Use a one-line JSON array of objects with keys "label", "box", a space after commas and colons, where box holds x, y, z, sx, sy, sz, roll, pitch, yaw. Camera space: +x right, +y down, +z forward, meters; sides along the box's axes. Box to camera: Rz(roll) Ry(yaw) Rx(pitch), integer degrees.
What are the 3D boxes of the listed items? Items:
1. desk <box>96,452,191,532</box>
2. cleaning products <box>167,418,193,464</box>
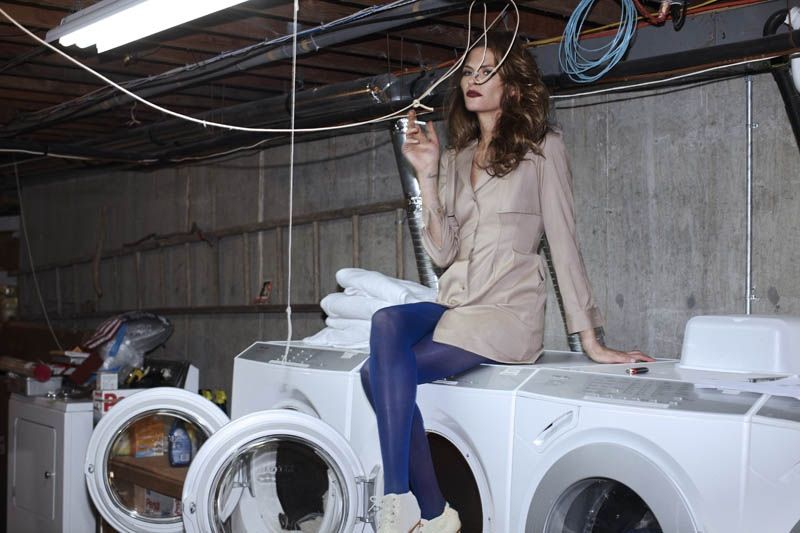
[{"label": "desk", "box": [-1.394, 1.220, 4.702, 0.430, 0.473, 0.258, 5, 1, 15]}, {"label": "cleaning products", "box": [-1.272, 0.973, 5.013, 0.115, 0.358, 0.119, -12, -13, 43]}]
